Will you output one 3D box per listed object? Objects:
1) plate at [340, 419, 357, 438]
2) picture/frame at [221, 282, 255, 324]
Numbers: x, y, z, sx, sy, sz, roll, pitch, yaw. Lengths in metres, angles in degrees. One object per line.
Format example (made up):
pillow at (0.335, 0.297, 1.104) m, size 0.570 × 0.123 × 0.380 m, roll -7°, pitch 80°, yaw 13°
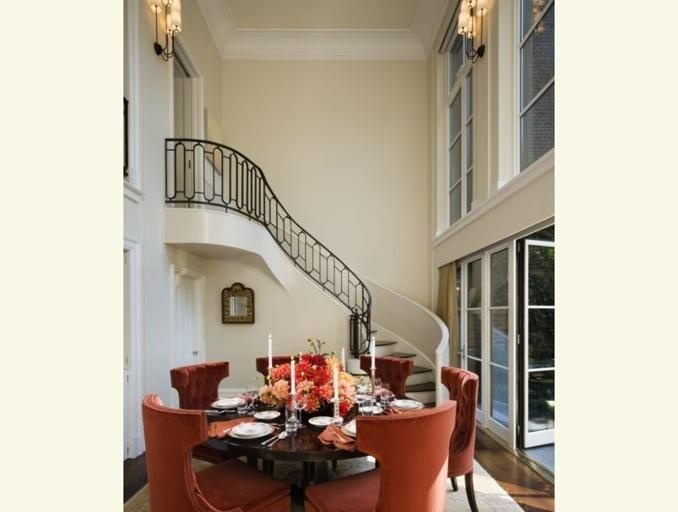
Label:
plate at (0.056, 0.819, 2.524) m, size 0.093 × 0.017 × 0.098 m, roll -1°, pitch 1°, yaw -24°
picture/frame at (-1.160, 0.570, 6.170) m, size 0.407 × 0.579 × 0.041 m, roll 0°, pitch -4°, yaw -6°
